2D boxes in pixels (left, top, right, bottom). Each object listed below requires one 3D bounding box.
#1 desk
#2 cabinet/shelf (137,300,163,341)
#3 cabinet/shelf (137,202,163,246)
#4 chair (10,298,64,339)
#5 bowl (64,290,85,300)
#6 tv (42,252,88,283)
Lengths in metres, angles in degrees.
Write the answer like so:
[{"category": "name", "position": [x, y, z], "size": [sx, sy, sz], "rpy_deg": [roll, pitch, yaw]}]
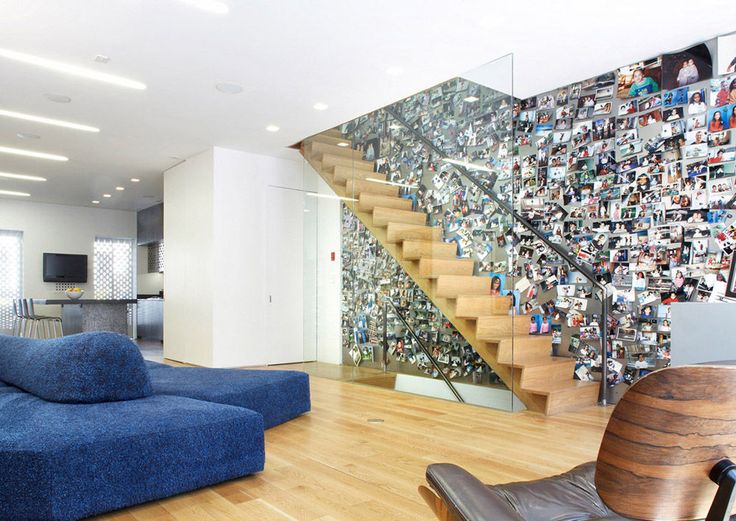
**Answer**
[{"category": "desk", "position": [-5.025, 0.998, 8.961], "size": [1.242, 0.747, 1.230], "rpy_deg": [1, -4, -34]}, {"category": "cabinet/shelf", "position": [-5.272, 1.642, 12.240], "size": [0.636, 1.071, 1.231], "rpy_deg": [2, -23, -25]}, {"category": "cabinet/shelf", "position": [-5.146, -0.881, 11.988], "size": [0.295, 0.710, 0.921], "rpy_deg": [7, -11, -41]}, {"category": "chair", "position": [-6.158, 1.079, 9.356], "size": [0.426, 0.722, 1.153], "rpy_deg": [-2, 1, -36]}, {"category": "bowl", "position": [-5.124, 0.600, 8.780], "size": [0.261, 0.124, 0.253], "rpy_deg": [-3, -5, 0]}, {"category": "tv", "position": [-6.991, 0.167, 11.609], "size": [0.072, 0.551, 0.711], "rpy_deg": [-9, -11, 43]}]
